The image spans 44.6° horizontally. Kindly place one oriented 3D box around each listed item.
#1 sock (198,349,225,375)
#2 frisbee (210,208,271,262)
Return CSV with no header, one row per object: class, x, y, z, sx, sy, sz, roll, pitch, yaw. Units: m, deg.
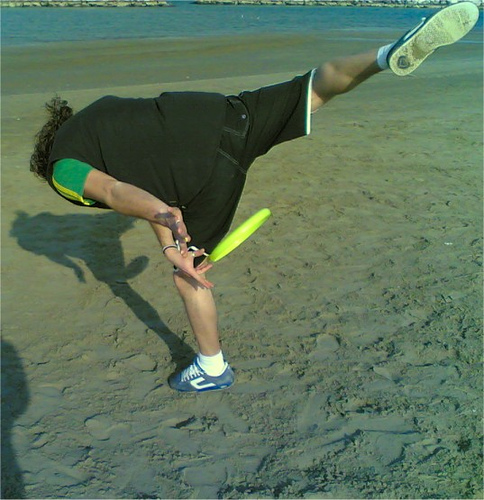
sock,-0.168,0.664,3.513,0.166,0.133,0.153,-1,31,0
frisbee,-0.010,-0.086,3.409,0.450,0.072,0.309,-24,-2,8
